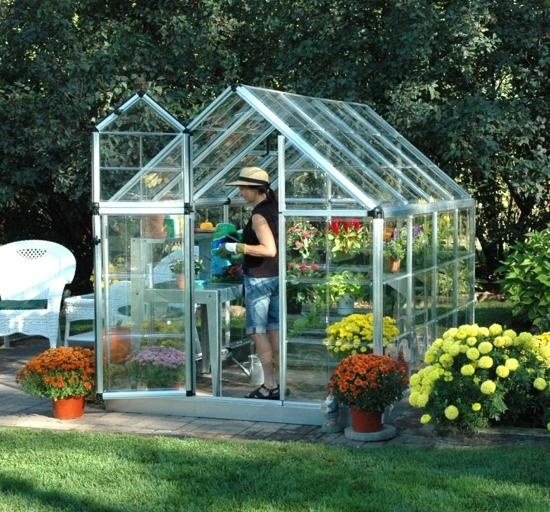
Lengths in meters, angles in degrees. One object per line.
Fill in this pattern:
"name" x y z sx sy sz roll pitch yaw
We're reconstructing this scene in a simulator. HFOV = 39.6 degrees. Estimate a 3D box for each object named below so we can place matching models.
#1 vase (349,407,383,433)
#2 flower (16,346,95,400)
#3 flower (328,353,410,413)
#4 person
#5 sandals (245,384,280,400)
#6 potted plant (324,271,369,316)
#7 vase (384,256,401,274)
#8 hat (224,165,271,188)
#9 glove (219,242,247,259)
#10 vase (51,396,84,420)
"vase" 0.663 1.224 5.713 0.227 0.137 0.208 0 -4 -5
"flower" -1.807 0.940 6.411 0.512 0.275 0.515 0 2 -8
"flower" 0.695 0.933 5.738 0.500 0.353 0.474 3 -5 -42
"person" -0.167 0.229 6.307 0.412 1.924 0.418 -2 3 -3
"sandals" -0.103 1.145 6.377 0.300 0.093 0.105 3 3 29
"potted plant" 0.534 0.286 6.003 0.354 0.305 0.338 0 -5 -3
"vase" 0.928 0.076 6.158 0.153 0.087 0.140 0 -3 -3
"hat" -0.197 -0.648 6.314 0.291 0.103 0.207 3 2 0
"glove" -0.345 -0.055 6.345 0.163 0.080 0.211 12 -11 -29
"vase" -1.723 1.270 6.356 0.203 0.152 0.235 0 -2 7
